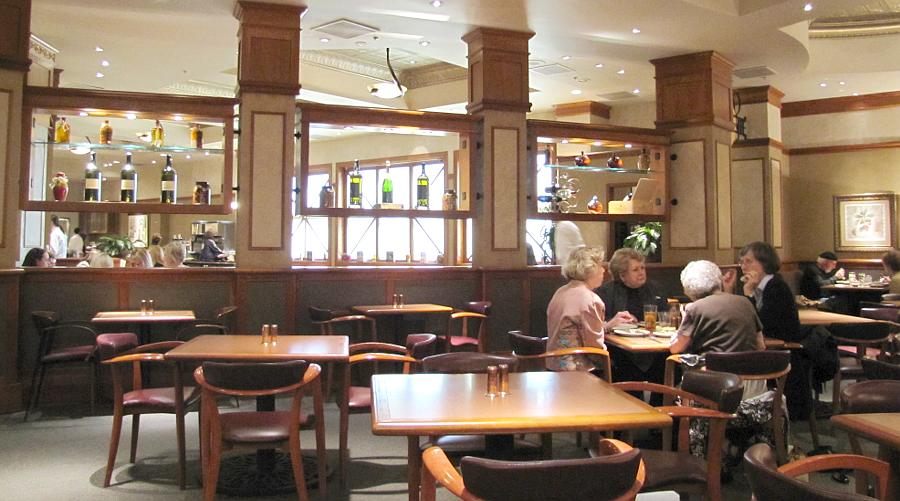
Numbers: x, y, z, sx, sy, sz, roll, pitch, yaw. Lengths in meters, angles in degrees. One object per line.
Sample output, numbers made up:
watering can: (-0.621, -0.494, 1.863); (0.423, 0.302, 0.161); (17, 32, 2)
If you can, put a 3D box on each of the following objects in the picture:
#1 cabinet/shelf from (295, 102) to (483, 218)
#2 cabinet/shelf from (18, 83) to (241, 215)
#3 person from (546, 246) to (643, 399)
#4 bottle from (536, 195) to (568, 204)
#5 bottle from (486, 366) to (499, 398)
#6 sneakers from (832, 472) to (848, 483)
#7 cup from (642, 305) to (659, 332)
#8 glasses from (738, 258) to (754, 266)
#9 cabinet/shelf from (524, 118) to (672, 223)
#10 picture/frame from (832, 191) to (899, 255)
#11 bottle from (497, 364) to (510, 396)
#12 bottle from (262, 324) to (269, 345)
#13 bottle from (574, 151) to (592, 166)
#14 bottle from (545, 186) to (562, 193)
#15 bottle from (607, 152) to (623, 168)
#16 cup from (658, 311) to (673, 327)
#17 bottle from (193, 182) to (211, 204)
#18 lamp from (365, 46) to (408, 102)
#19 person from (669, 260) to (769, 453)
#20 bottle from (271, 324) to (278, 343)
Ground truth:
cabinet/shelf: (-0.930, -1.296, 10.472); (3.254, 1.556, 0.464); (-5, 10, -38)
cabinet/shelf: (-4.777, -1.340, 10.218); (3.015, 1.535, 0.539); (-3, 0, -39)
person: (1.588, 0.700, 7.939); (1.068, 1.485, 0.632); (-2, 2, -37)
bottle: (1.540, -0.818, 10.791); (0.493, 0.108, 0.208); (-1, 1, -20)
bottle: (0.413, 1.237, 6.490); (0.123, 0.270, 0.093); (-1, 2, -12)
sneakers: (4.342, 2.506, 7.599); (0.127, 0.054, 0.157); (-2, -3, 5)
cup: (2.413, 0.817, 8.231); (0.130, 0.300, 0.190); (-1, 2, 10)
glasses: (3.683, 0.139, 8.534); (0.115, 0.096, 0.034); (-5, -29, 13)
cabinet/shelf: (2.697, -1.357, 12.460); (2.305, 1.689, 4.174); (-1, 1, 9)
picture/frame: (8.613, -0.579, 14.094); (1.668, 1.499, 0.179); (0, -4, 26)
bottle: (0.513, 1.232, 6.581); (0.105, 0.269, 0.239); (-1, 1, 6)
bottle: (-2.058, 0.931, 7.650); (0.105, 0.197, 0.260); (-1, 1, -15)
bottle: (2.179, -1.492, 11.289); (0.191, 0.221, 0.340); (-1, 1, 16)
bottle: (1.618, -0.957, 10.777); (0.226, 0.113, 0.092); (-1, 1, -6)
bottle: (2.833, -1.503, 11.560); (0.337, 0.258, 0.292); (0, -5, -10)
cup: (2.626, 0.841, 8.367); (0.181, 0.155, 0.161); (0, -5, -6)
bottle: (-3.529, -0.824, 9.730); (0.209, 0.327, 0.231); (-2, 2, -19)
lamp: (-1.121, -3.195, 12.162); (1.046, 0.872, 0.936); (7, 19, 13)
person: (2.970, 1.155, 7.513); (1.036, 2.064, 0.701); (0, 2, 20)
bottle: (-1.964, 0.927, 7.638); (0.077, 0.196, 0.177); (-2, 2, -19)
